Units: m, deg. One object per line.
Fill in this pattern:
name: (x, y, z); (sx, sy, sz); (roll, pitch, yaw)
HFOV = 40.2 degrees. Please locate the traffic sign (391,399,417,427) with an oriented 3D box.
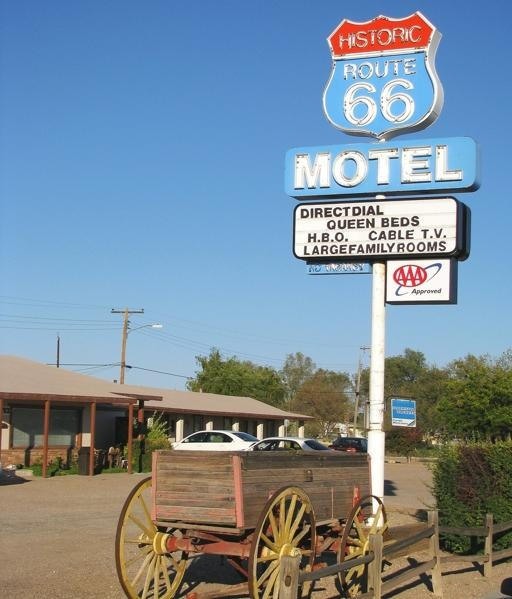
traffic sign: (3.172, 2.500, 15.383); (0.305, 0.573, 0.906); (-6, -13, 37)

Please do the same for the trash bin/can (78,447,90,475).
trash bin/can: (-6.292, 5.961, 25.673); (0.381, 0.965, 0.645); (6, -12, -17)
